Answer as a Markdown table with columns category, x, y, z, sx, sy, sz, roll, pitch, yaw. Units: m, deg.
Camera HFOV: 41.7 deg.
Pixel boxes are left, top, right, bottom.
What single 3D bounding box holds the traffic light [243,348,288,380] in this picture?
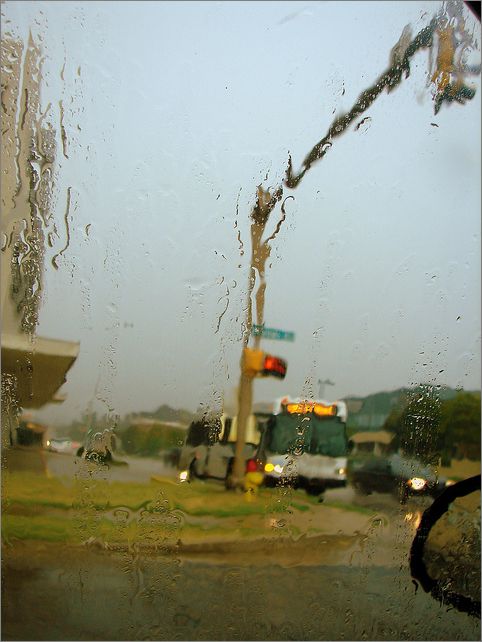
| category | x | y | z | sx | sy | sz | roll | pitch | yaw |
| --- | --- | --- | --- | --- | --- | --- | --- | --- | --- |
| traffic light | 0.076 | 0.152 | 2.231 | 0.177 | 0.084 | 0.154 | 5 | -2 | -4 |
